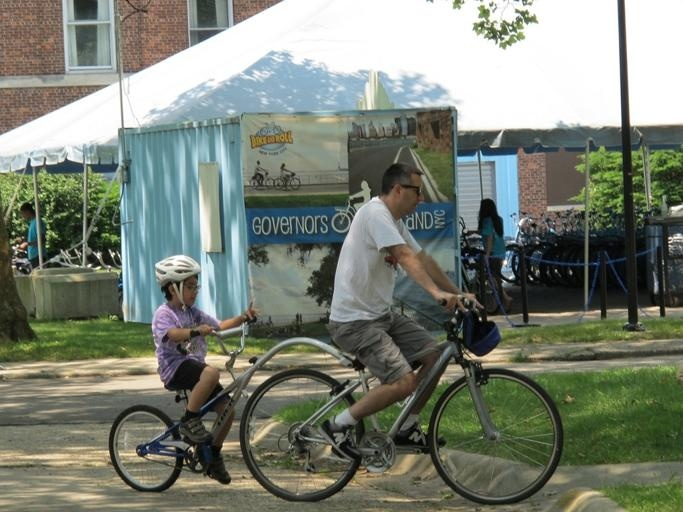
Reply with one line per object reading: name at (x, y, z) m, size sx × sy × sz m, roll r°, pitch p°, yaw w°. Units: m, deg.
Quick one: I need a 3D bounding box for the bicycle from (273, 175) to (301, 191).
bicycle at (-0.947, -1.249, 22.113) m, size 0.431 × 0.286 × 0.220 m, roll -2°, pitch 13°, yaw 0°

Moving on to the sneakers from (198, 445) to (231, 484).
sneakers at (-1.455, 2.378, 14.450) m, size 0.176 × 0.434 × 0.145 m, roll -21°, pitch 14°, yaw 38°

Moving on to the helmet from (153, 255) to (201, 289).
helmet at (-1.875, 0.152, 14.464) m, size 0.499 × 0.308 × 0.391 m, roll -4°, pitch 14°, yaw 5°

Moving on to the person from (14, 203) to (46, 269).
person at (-7.086, -0.504, 29.230) m, size 0.606 × 1.163 × 4.058 m, roll -2°, pitch 1°, yaw -14°
